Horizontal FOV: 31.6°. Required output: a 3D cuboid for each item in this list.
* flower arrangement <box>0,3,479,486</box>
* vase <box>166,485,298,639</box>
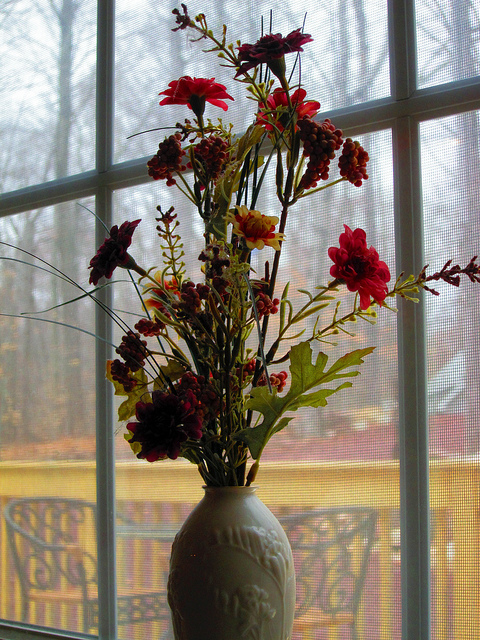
[{"bbox_3d":[0.003,-0.235,1.857,0.625,1.190,0.792,3,-17,-9],"label":"flower arrangement"},{"bbox_3d":[-0.013,0.441,1.559,0.228,0.270,0.094,1,-17,-3],"label":"vase"}]
